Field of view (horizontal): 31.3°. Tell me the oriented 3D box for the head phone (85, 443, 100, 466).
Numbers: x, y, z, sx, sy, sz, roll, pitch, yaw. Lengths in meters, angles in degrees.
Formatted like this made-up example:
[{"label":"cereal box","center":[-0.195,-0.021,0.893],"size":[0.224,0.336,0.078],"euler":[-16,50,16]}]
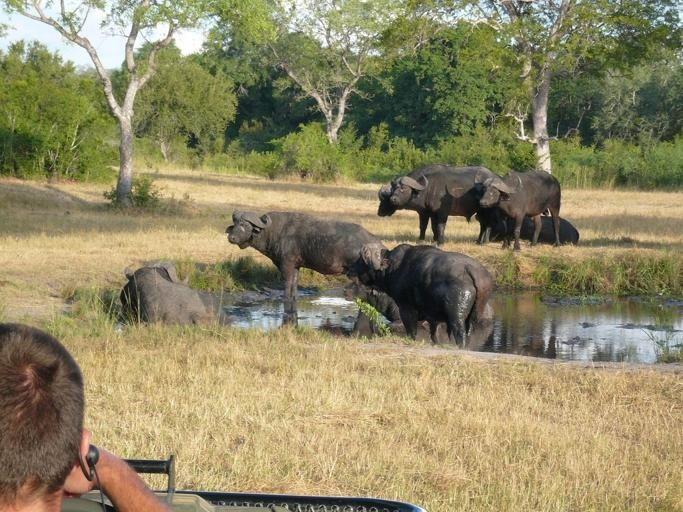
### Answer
[{"label":"head phone","center":[-5.072,3.994,24.432],"size":[0.261,0.374,0.290],"euler":[-5,-38,-27]}]
